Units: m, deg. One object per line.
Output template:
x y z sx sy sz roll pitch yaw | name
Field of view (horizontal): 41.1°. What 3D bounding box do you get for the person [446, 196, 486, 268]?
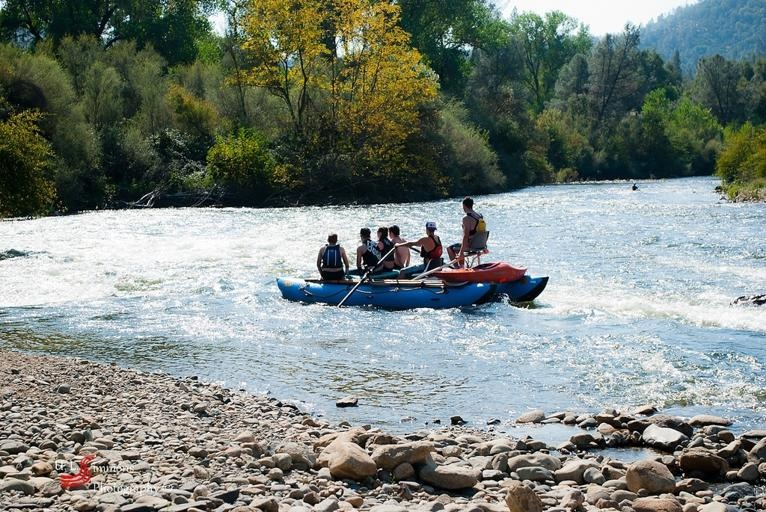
2.725 -0.772 33.385 1.275 2.220 1.276 0 6 5 | person
